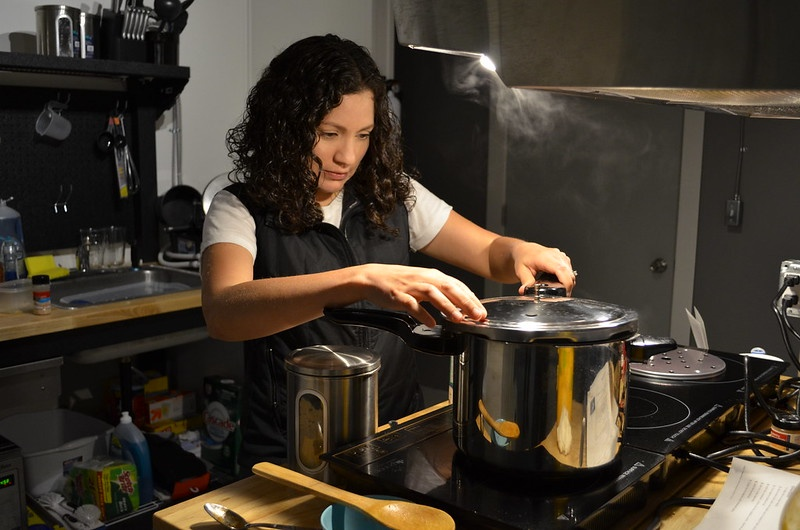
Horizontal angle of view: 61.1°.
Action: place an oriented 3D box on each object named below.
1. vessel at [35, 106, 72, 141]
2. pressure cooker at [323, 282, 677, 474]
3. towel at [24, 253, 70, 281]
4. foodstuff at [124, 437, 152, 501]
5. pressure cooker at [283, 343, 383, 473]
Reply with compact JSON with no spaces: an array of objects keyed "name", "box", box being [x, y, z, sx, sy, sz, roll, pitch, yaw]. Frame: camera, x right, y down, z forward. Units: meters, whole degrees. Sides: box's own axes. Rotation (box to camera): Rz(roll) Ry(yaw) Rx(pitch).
[{"name":"vessel","box":[-1.477,-0.578,2.889,0.112,0.155,0.093,4,-7,-44]},{"name":"pressure cooker","box":[0.169,0.199,1.287,0.498,0.245,0.271,2,4,15]},{"name":"towel","box":[-1.510,0.014,2.891,0.150,0.056,0.152,22,25,29]},{"name":"foodstuff","box":[-1.009,0.795,2.613,0.099,0.256,0.085,-5,10,-24]},{"name":"pressure cooker","box":[-0.146,0.312,1.381,0.170,0.282,0.178,-3,10,-26]}]
